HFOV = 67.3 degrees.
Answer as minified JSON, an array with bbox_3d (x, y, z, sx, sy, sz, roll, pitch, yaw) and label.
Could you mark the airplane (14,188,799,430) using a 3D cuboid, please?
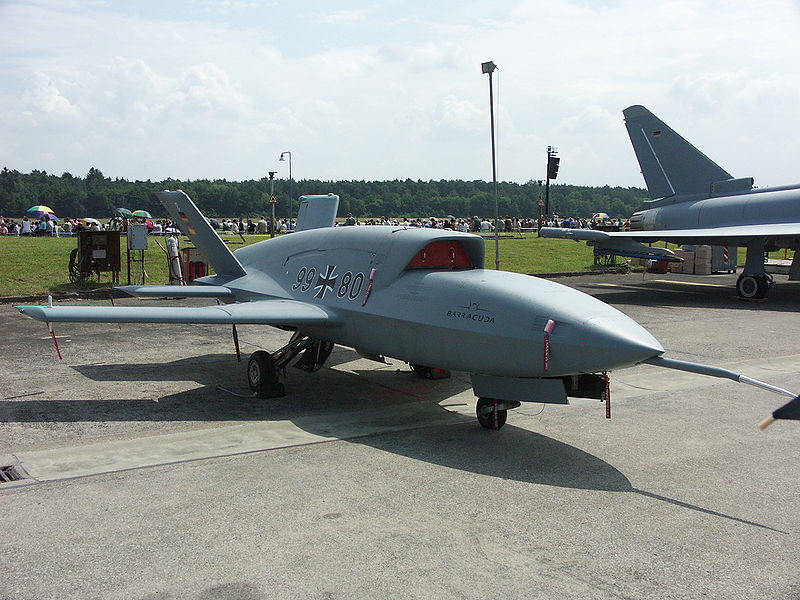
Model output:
[{"bbox_3d":[-0.098,0.358,12.078,11.810,3.640,4.113,5,10,28],"label":"airplane"}]
